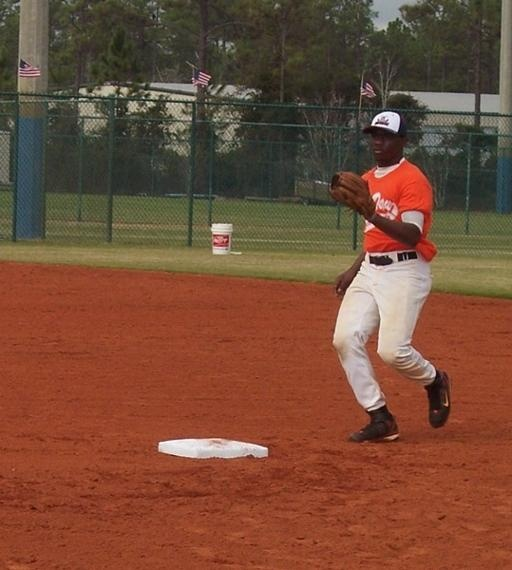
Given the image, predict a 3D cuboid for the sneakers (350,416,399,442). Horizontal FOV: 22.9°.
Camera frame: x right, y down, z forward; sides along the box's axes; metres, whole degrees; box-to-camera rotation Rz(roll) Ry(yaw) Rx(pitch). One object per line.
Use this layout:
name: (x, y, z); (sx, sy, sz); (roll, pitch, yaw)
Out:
sneakers: (0.712, 0.874, 7.644); (0.291, 0.140, 0.126); (-1, 0, -29)

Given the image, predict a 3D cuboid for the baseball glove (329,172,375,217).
baseball glove: (0.566, -0.512, 7.157); (0.200, 0.268, 0.130); (-38, 10, 44)

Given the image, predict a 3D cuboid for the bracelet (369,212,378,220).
bracelet: (0.662, -0.386, 7.144); (0.041, 0.042, 0.011); (3, -35, 49)

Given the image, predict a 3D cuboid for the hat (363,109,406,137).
hat: (0.777, -0.939, 7.501); (0.198, 0.118, 0.144); (13, 3, -25)

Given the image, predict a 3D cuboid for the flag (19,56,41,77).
flag: (-3.490, -3.351, 19.379); (0.406, 0.485, 0.045); (0, -22, -7)

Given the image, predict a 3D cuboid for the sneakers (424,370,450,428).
sneakers: (1.139, 0.708, 7.800); (0.120, 0.389, 0.169); (1, -1, 33)

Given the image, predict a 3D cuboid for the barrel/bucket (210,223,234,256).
barrel/bucket: (-0.488, -0.627, 17.363); (0.264, 0.439, 0.529); (1, 9, -4)

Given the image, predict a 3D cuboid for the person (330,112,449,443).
person: (0.828, -0.027, 7.556); (0.750, 1.979, 0.921); (3, 9, 7)
